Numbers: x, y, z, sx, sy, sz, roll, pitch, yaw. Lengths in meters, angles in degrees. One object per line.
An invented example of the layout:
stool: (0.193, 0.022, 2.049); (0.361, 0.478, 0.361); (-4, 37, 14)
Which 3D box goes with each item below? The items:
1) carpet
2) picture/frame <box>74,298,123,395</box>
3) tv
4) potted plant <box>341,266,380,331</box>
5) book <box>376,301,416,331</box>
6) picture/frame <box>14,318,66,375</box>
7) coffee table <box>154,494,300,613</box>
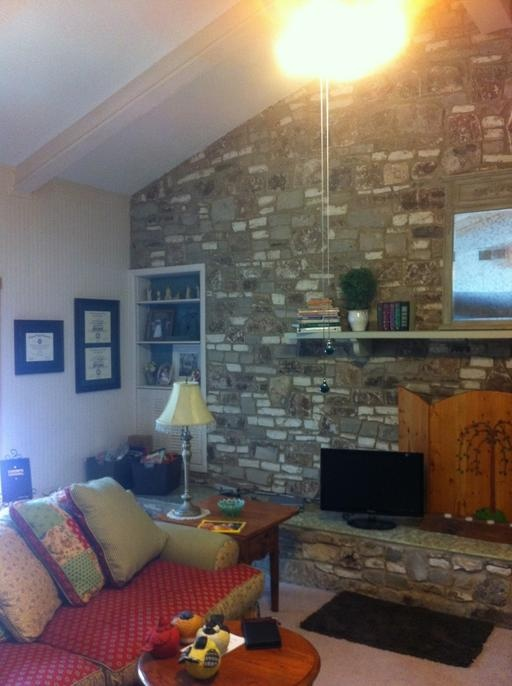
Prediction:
carpet: (0.766, 1.516, 2.826); (0.509, 0.020, 0.366); (3, 6, 40)
picture/frame: (-1.384, 0.028, 4.713); (0.115, 0.738, 0.537); (-1, 1, 16)
tv: (0.746, 0.942, 3.528); (0.661, 0.471, 0.183); (-2, -14, 18)
potted plant: (0.737, -0.313, 3.896); (0.249, 0.448, 0.126); (-1, 1, 9)
book: (0.940, -0.183, 3.690); (0.188, 0.245, 0.253); (2, 0, 8)
picture/frame: (-1.655, 0.029, 4.094); (0.031, 0.417, 0.426); (5, 7, 33)
coffee table: (-0.065, 1.284, 3.090); (0.591, 0.457, 0.642); (18, -36, -38)
